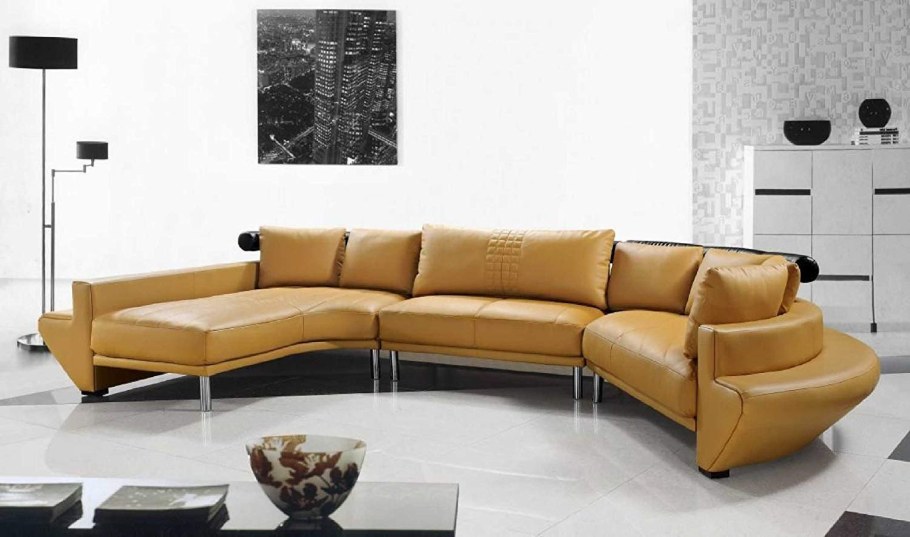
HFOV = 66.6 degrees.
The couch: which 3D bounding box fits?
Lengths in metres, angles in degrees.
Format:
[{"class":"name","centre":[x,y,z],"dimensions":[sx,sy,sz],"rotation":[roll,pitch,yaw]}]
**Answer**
[{"class":"couch","centre":[0.165,0.436,5.205],"dimensions":[5.321,1.360,1.622],"rotation":[2,10,15]}]

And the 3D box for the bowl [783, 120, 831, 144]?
[{"class":"bowl","centre":[3.499,-1.362,6.883],"dimensions":[0.421,0.208,0.270],"rotation":[1,1,12]}]

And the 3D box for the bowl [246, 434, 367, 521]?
[{"class":"bowl","centre":[-0.794,1.148,3.661],"dimensions":[0.646,0.366,0.619],"rotation":[-3,-12,-1]}]
